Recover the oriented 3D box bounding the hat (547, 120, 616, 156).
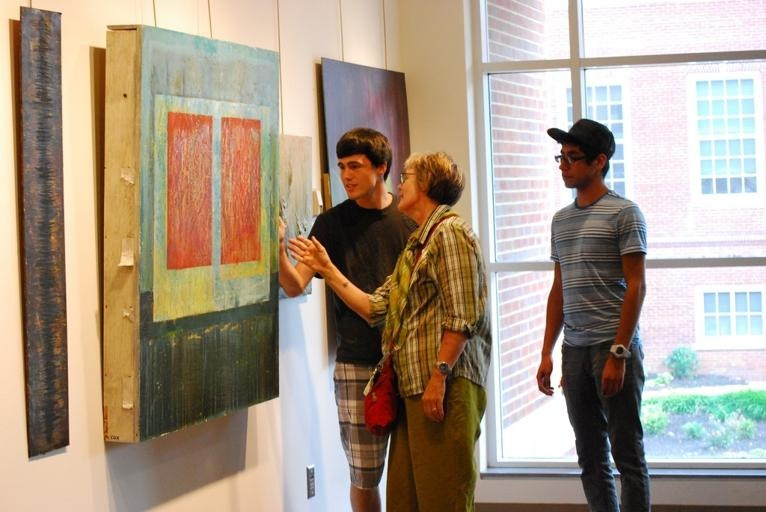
[{"bbox_3d":[1.144,-0.669,4.095,0.330,0.167,0.209,26,8,-12],"label":"hat"}]

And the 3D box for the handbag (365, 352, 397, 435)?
[{"bbox_3d":[-0.006,0.627,3.240,0.151,0.334,0.150,-1,5,-2],"label":"handbag"}]

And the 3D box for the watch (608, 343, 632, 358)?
[{"bbox_3d":[1.289,0.523,3.866,0.099,0.062,0.103,17,7,7],"label":"watch"}]

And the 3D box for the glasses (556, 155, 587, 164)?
[{"bbox_3d":[1.104,-0.555,4.082,0.098,0.031,0.096,4,-3,-28],"label":"glasses"}]

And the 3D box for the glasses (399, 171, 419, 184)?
[{"bbox_3d":[0.117,-0.383,3.383,0.075,0.024,0.075,2,-4,6],"label":"glasses"}]

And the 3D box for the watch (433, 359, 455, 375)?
[{"bbox_3d":[0.274,0.505,3.156,0.062,0.042,0.070,10,-23,20],"label":"watch"}]
